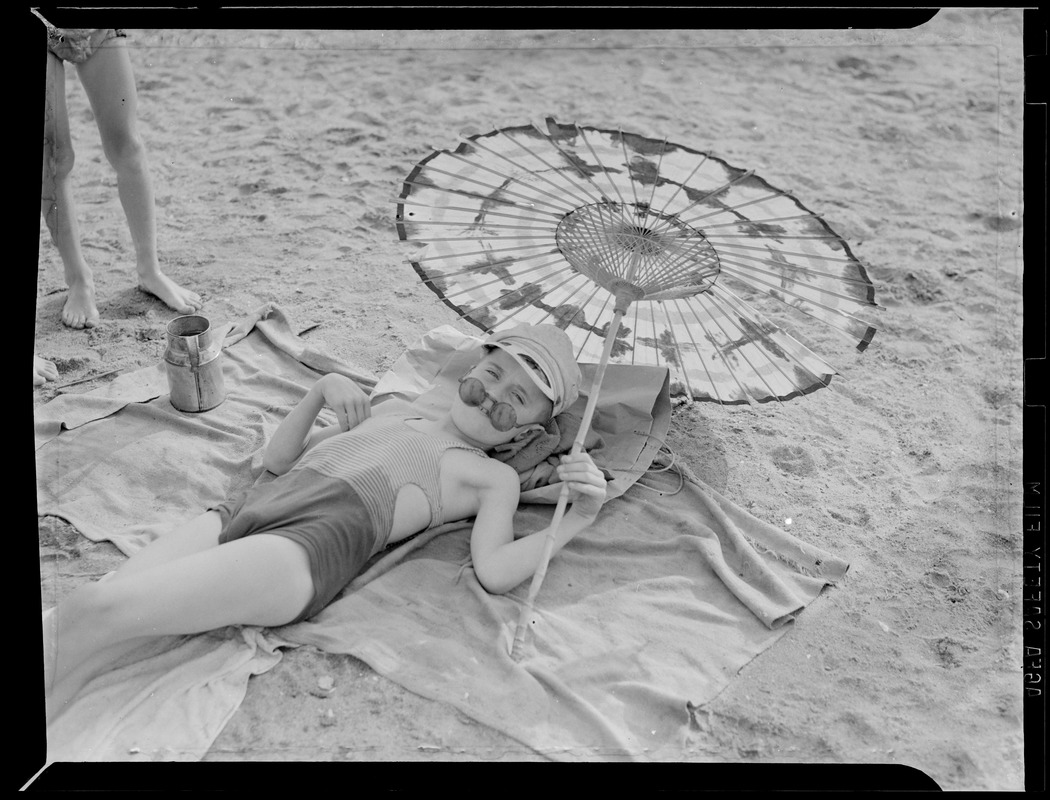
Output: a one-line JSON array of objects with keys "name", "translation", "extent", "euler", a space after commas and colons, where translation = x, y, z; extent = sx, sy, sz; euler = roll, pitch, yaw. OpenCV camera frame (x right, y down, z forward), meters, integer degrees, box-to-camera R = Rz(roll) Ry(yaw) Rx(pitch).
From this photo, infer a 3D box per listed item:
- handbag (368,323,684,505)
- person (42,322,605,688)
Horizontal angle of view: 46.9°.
[{"name": "handbag", "translation": [0.052, 0.024, 4.955], "extent": [0.898, 0.223, 0.776], "euler": [24, 43, -2]}, {"name": "person", "translation": [-0.672, 0.546, 4.522], "extent": [2.114, 0.770, 0.937], "euler": [-19, 54, -27]}]
